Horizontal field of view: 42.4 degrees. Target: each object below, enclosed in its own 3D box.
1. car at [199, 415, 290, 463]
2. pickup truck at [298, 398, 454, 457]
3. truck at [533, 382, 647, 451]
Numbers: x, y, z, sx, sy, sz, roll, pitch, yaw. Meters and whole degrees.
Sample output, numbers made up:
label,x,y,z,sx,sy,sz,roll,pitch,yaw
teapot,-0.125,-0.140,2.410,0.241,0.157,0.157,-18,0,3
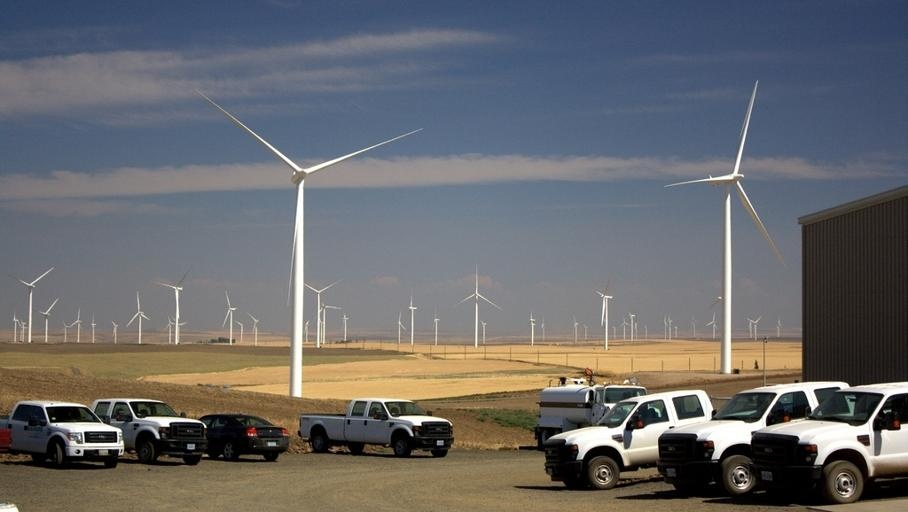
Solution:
label,x,y,z,sx,sy,sz,roll,pitch,yaw
car,-10.881,9.654,62.461,4.883,1.369,2.270,0,-3,44
pickup truck,-4.246,9.687,65.949,8.805,2.407,4.434,-5,-8,39
truck,7.765,8.891,64.323,4.143,2.988,6.402,6,-11,-29
